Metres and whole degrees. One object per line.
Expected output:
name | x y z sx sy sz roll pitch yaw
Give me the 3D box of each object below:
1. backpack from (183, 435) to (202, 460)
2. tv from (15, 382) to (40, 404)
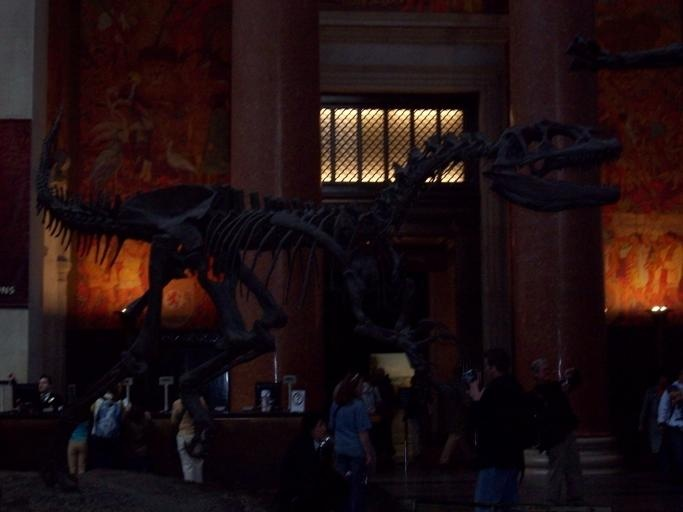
backpack | -1.765 2.298 12.803 0.179 0.261 0.288 3 -4 -15
tv | -4.579 1.999 15.339 0.325 0.288 0.207 5 -10 -15
